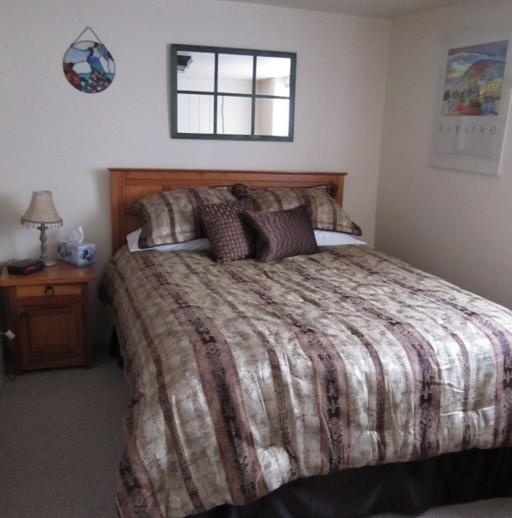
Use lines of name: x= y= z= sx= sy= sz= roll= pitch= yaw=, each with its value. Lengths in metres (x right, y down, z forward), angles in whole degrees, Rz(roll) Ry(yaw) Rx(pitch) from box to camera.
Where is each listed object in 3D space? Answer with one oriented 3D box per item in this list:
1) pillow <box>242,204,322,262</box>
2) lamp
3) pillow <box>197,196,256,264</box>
pillow: x=0.142 y=-0.162 z=2.771 sx=0.457 sy=0.313 sz=0.136 roll=-6 pitch=-17 yaw=-41
lamp: x=-1.393 y=-0.209 z=2.964 sx=0.257 sy=0.478 sz=0.384 roll=-4 pitch=13 yaw=-26
pillow: x=-0.180 y=-0.177 z=2.773 sx=0.263 sy=0.339 sz=0.265 roll=-4 pitch=13 yaw=-28
